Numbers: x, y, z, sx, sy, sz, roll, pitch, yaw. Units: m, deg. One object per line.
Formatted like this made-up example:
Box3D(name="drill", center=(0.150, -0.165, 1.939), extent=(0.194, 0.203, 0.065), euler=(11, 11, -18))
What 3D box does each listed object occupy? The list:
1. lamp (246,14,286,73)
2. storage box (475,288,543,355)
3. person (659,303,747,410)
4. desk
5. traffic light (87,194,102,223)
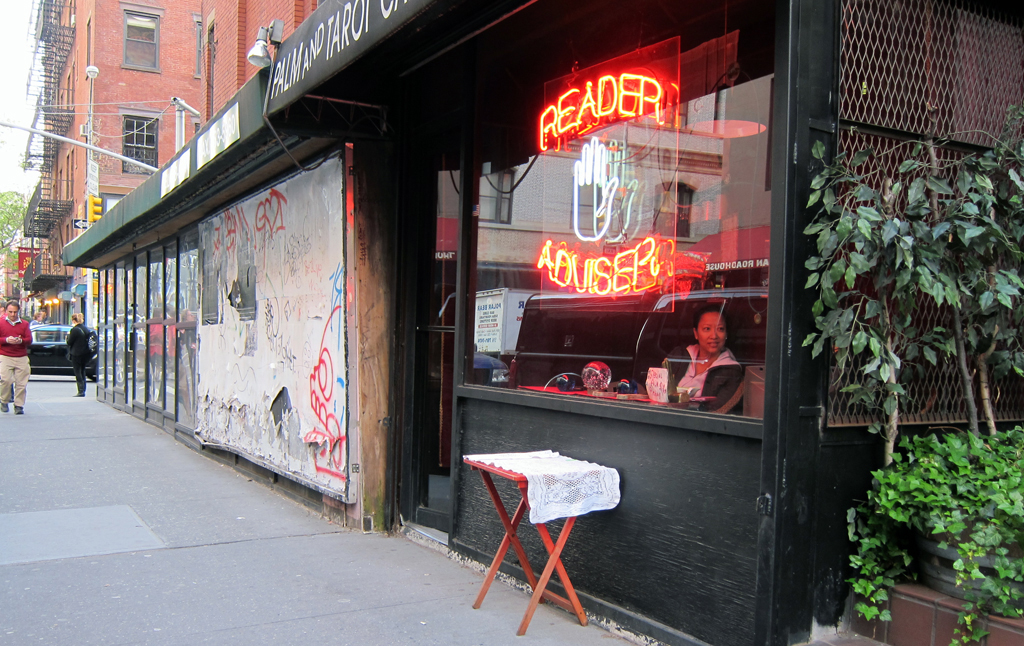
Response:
Box3D(name="lamp", center=(-2.509, -2.817, 8.048), extent=(0.300, 0.457, 0.659), euler=(0, 3, -22))
Box3D(name="storage box", center=(-0.056, -0.032, 7.507), extent=(0.482, 0.709, 0.890), euler=(4, -5, -18))
Box3D(name="person", center=(1.374, 0.239, 5.720), extent=(0.170, 0.730, 0.694), euler=(-1, 3, -32))
Box3D(name="desk", center=(0.317, 1.655, 6.350), extent=(1.161, 1.664, 1.356), euler=(-2, 3, -30))
Box3D(name="traffic light", center=(-11.954, -3.296, 22.757), extent=(0.253, 0.868, 2.066), euler=(-1, 3, -31))
